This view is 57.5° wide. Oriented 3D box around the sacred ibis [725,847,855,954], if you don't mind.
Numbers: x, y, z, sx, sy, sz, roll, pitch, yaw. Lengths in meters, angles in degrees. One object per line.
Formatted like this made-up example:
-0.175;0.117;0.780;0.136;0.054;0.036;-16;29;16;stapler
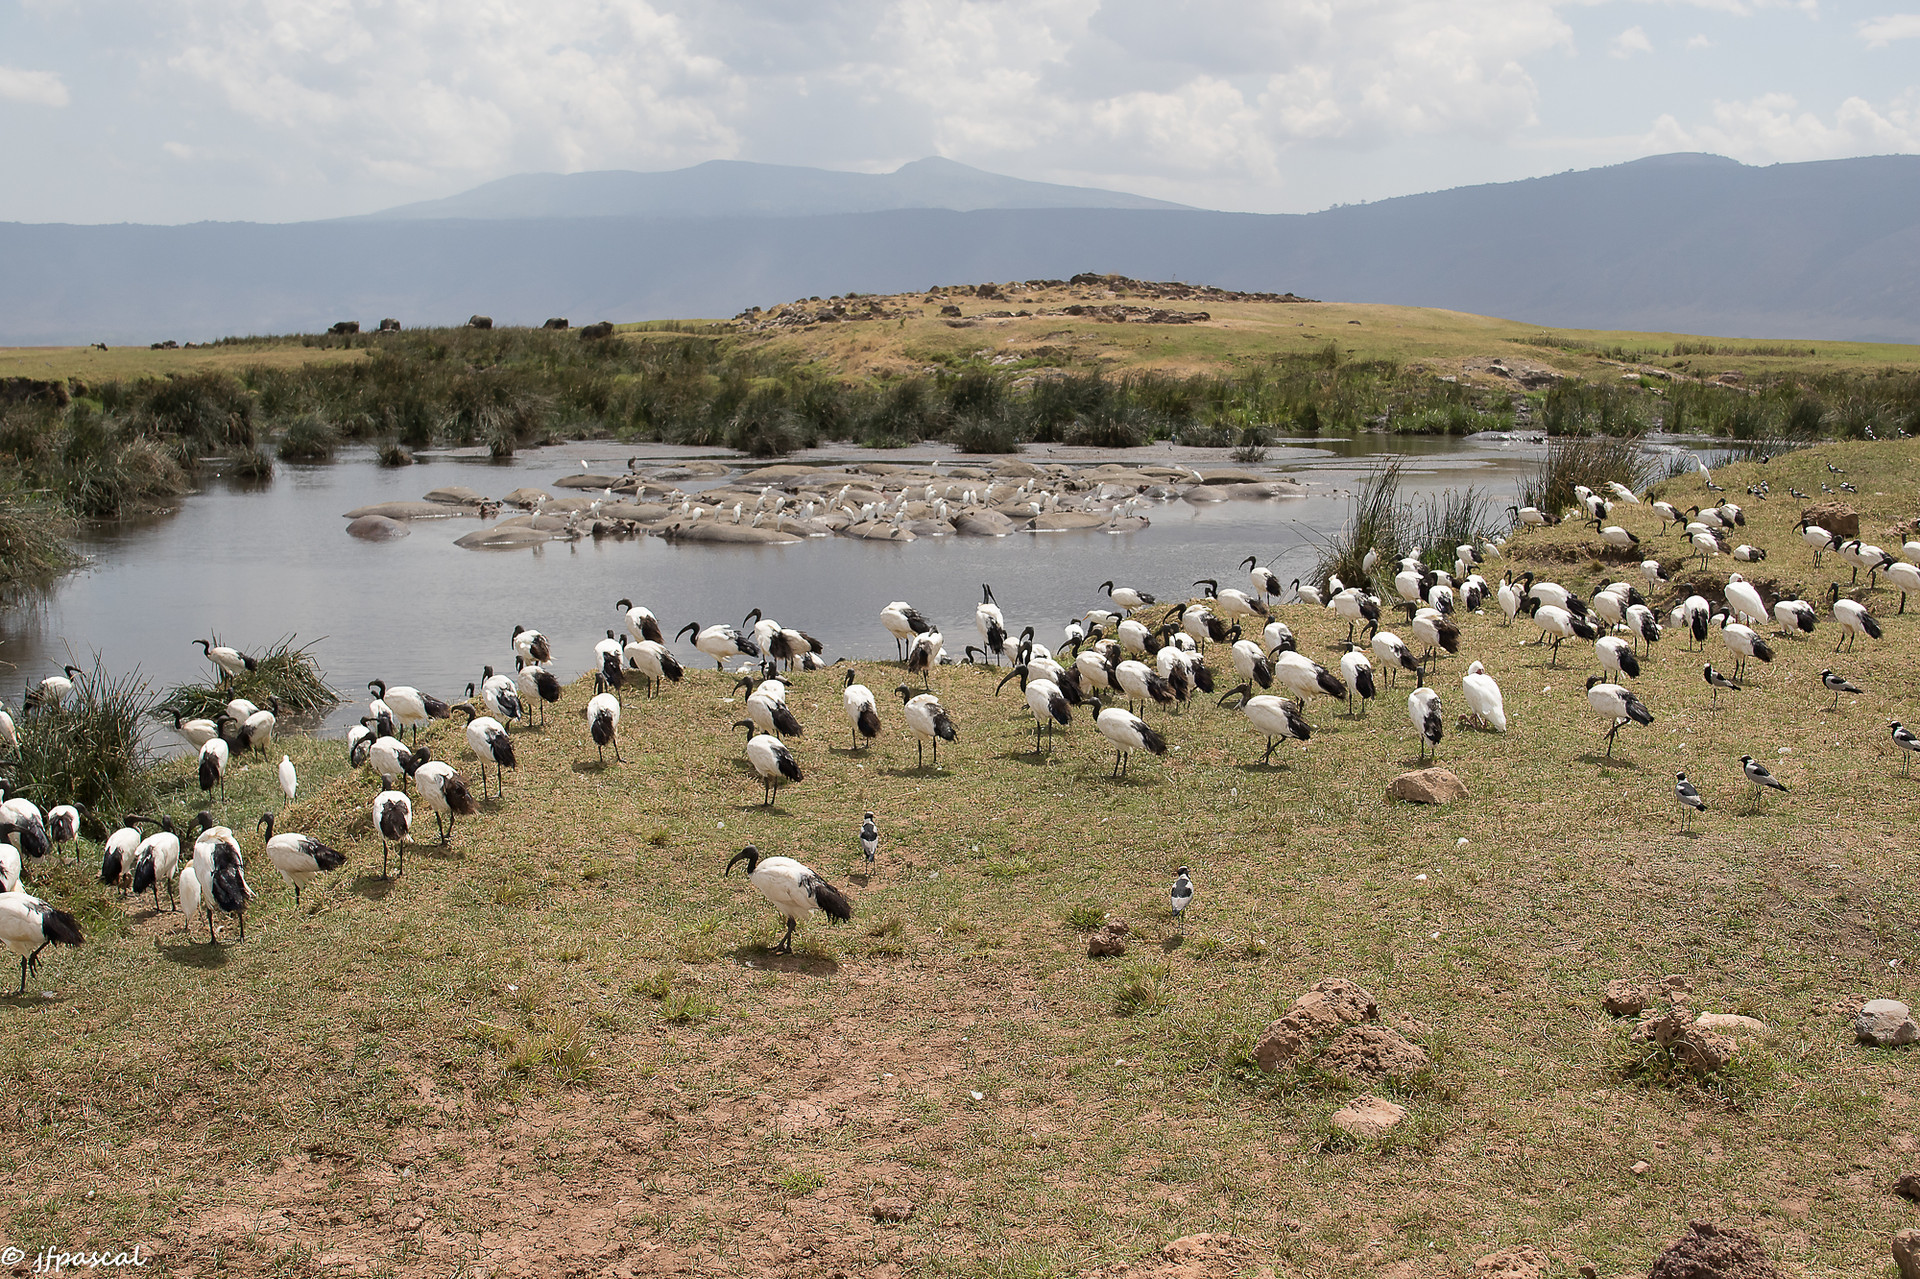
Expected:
-2.052;3.192;21.091;1.176;0.767;0.487;2;-2;29;sacred ibis
